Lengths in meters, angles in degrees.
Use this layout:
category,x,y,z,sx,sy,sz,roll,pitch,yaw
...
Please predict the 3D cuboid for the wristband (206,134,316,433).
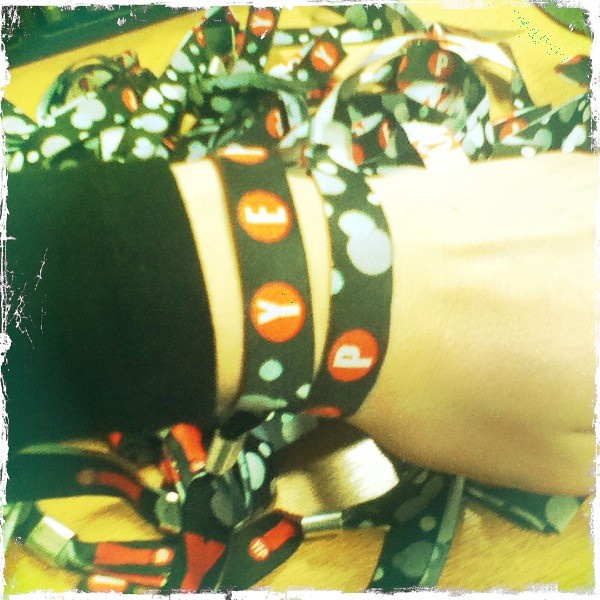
category,x,y,z,sx,sy,sz,roll,pitch,yaw
wristband,-0.056,-0.014,1.152,0.149,0.348,0.235,-9,30,2
